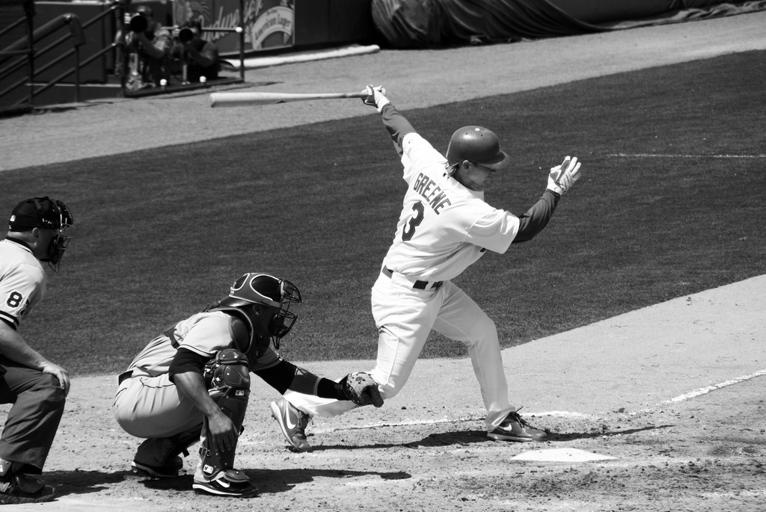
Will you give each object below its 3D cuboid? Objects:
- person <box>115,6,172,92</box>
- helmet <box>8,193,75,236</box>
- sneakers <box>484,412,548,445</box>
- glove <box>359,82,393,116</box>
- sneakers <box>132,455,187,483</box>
[{"bbox_3d":[-4.190,-3.617,22.213,1.018,1.518,1.273,-9,19,-12],"label":"person"},{"bbox_3d":[-2.948,-0.357,10.918,0.494,0.243,0.329,-8,12,-20],"label":"helmet"},{"bbox_3d":[1.202,1.571,11.472,0.533,0.187,0.270,-1,3,7],"label":"sneakers"},{"bbox_3d":[-0.069,-1.561,12.597,0.292,0.175,0.607,7,8,-7],"label":"glove"},{"bbox_3d":[-1.930,1.877,11.000,0.514,0.177,0.178,2,-2,-6],"label":"sneakers"}]
